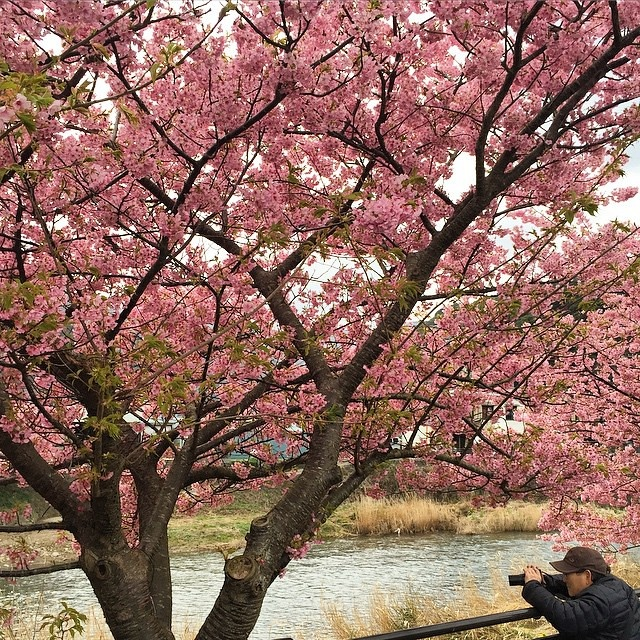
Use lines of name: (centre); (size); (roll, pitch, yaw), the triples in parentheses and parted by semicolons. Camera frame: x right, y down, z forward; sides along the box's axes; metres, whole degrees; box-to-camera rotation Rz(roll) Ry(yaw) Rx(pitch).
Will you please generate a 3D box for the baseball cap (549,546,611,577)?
baseball cap: (1.779, 1.637, 6.748); (0.361, 0.141, 0.210); (0, -15, 9)
